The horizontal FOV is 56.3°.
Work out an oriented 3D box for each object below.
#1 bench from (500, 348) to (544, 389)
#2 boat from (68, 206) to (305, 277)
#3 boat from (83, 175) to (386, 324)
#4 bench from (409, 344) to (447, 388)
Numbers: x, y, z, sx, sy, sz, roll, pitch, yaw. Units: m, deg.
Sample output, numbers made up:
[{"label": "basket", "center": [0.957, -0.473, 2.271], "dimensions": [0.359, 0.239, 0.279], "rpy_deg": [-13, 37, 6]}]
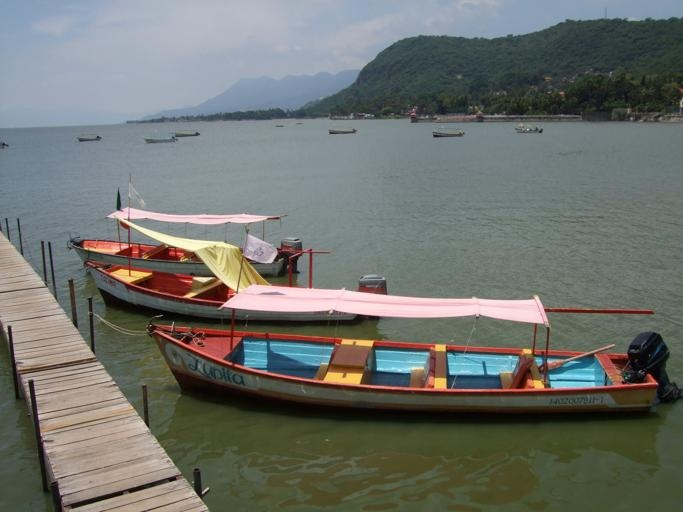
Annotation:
[{"label": "bench", "center": [6.984, 4.315, 24.625], "dimensions": [1.626, 1.220, 1.809], "rpy_deg": [2, 10, 12]}, {"label": "boat", "center": [-9.549, -0.808, 39.005], "dimensions": [13.215, 3.586, 3.392], "rpy_deg": [4, 20, 8]}, {"label": "boat", "center": [-6.605, -0.527, 39.637], "dimensions": [16.253, 6.547, 11.199], "rpy_deg": [7, 18, 28]}, {"label": "bench", "center": [3.389, 4.364, 24.534], "dimensions": [1.191, 0.778, 2.504], "rpy_deg": [6, 18, 7]}]
